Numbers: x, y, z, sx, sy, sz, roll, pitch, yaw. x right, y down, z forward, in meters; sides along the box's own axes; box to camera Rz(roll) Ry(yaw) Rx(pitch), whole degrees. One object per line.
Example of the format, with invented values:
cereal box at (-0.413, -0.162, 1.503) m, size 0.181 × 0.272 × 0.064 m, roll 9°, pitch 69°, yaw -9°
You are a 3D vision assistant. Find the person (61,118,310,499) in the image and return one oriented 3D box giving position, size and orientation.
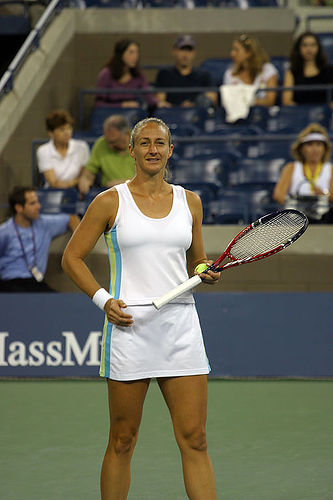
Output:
person at (-0.040, 0.675, 3.169) m, size 0.819 × 2.374 × 1.208 m, roll 13°, pitch 51°, yaw 9°

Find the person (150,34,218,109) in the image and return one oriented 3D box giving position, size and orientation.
person at (0.239, -2.232, 8.782) m, size 0.820 × 1.113 × 0.784 m, roll 7°, pitch 16°, yaw 20°

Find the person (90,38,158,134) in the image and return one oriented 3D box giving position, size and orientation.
person at (-0.450, -2.083, 8.742) m, size 0.980 × 1.230 × 0.813 m, roll 2°, pitch 14°, yaw -7°
